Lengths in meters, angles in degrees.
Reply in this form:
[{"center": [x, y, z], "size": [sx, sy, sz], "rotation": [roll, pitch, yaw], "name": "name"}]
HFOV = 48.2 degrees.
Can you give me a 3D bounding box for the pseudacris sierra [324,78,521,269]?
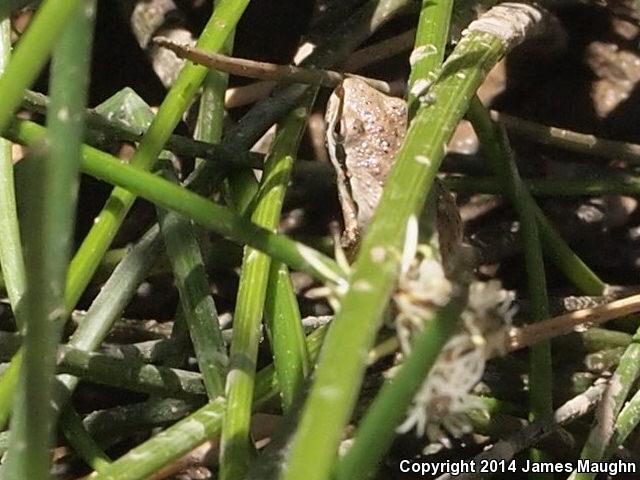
[{"center": [0.112, -0.069, 0.824], "size": [0.169, 0.077, 0.213], "rotation": [-17, 90, -36], "name": "pseudacris sierra"}]
